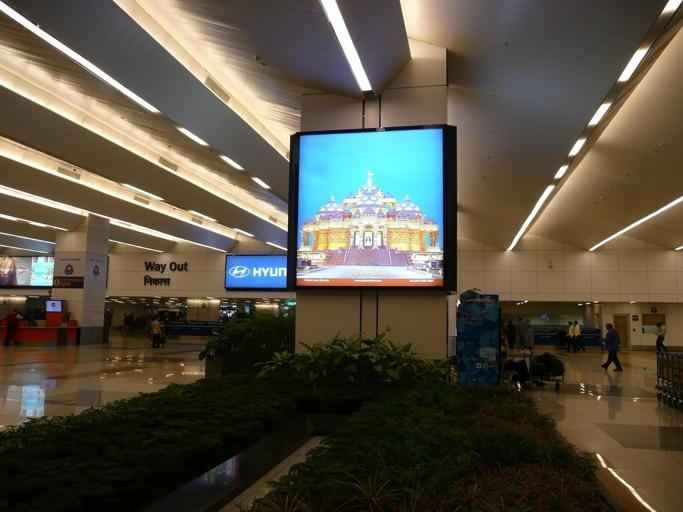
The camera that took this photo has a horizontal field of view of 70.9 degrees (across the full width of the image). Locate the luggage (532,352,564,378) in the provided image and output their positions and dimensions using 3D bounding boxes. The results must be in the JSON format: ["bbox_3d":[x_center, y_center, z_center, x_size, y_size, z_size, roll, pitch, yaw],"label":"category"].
[{"bbox_3d":[4.315,2.322,10.242,0.612,0.379,0.599,3,-1,-11],"label":"luggage"}]

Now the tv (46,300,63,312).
[{"bbox_3d":[-12.829,2.240,21.383,0.706,0.676,0.491,-1,-1,12],"label":"tv"}]

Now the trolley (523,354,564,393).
[{"bbox_3d":[4.498,2.525,10.538,0.863,1.085,1.065,1,-1,18],"label":"trolley"}]
